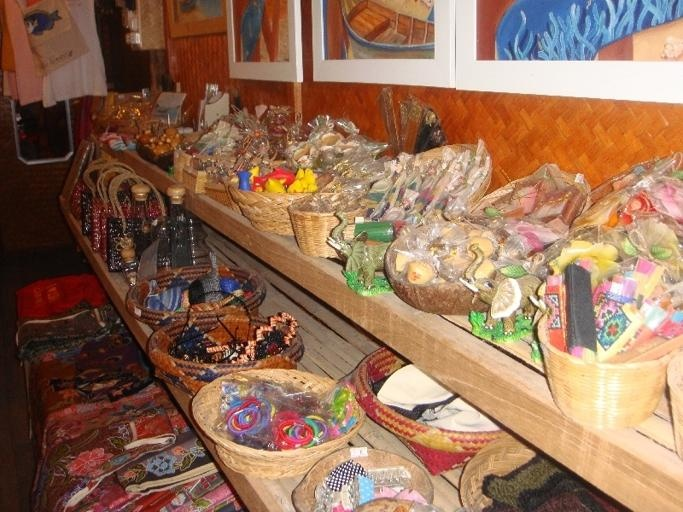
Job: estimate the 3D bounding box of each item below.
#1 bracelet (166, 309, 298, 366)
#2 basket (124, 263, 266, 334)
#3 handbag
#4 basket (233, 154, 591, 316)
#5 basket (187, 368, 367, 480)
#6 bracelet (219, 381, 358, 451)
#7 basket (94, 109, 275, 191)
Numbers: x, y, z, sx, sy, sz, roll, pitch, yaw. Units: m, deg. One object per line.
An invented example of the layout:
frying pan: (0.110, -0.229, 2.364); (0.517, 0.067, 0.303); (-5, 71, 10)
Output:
bracelet: (-0.356, 0.294, 1.700); (0.227, 0.071, 0.229); (-5, 12, -26)
basket: (-0.659, 0.149, 2.026); (0.336, 0.104, 0.342); (19, 30, 37)
handbag: (-1.190, -0.233, 2.686); (0.225, 0.500, 0.582); (-20, 40, -35)
basket: (0.060, -0.092, 1.504); (0.710, 0.155, 0.431); (-7, 28, -12)
basket: (-0.186, 0.430, 1.330); (0.296, 0.101, 0.302); (17, 24, 22)
bracelet: (-0.158, 0.434, 1.325); (0.232, 0.050, 0.191); (4, 20, -4)
basket: (-0.583, -0.499, 2.295); (0.519, 0.225, 0.719); (-21, 31, -39)
